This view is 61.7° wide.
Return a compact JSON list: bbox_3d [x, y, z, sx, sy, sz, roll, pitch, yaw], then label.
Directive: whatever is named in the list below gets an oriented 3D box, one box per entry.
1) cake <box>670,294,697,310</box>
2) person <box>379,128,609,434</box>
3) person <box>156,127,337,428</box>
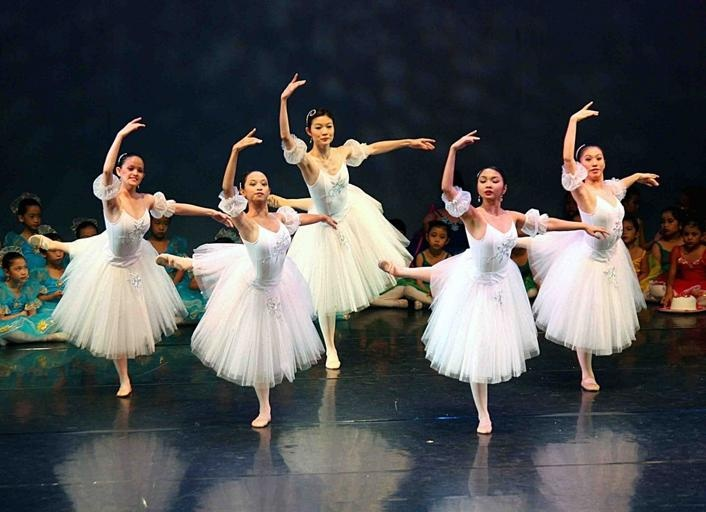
[{"bbox_3d":[2.794,0.399,5.009,0.142,0.073,0.142,-1,1,5],"label":"cake"},{"bbox_3d":[0.617,0.213,3.026,0.821,1.302,0.428,0,10,5],"label":"person"},{"bbox_3d":[-0.511,0.122,3.128,0.692,1.478,0.470,-3,10,-9],"label":"person"}]
